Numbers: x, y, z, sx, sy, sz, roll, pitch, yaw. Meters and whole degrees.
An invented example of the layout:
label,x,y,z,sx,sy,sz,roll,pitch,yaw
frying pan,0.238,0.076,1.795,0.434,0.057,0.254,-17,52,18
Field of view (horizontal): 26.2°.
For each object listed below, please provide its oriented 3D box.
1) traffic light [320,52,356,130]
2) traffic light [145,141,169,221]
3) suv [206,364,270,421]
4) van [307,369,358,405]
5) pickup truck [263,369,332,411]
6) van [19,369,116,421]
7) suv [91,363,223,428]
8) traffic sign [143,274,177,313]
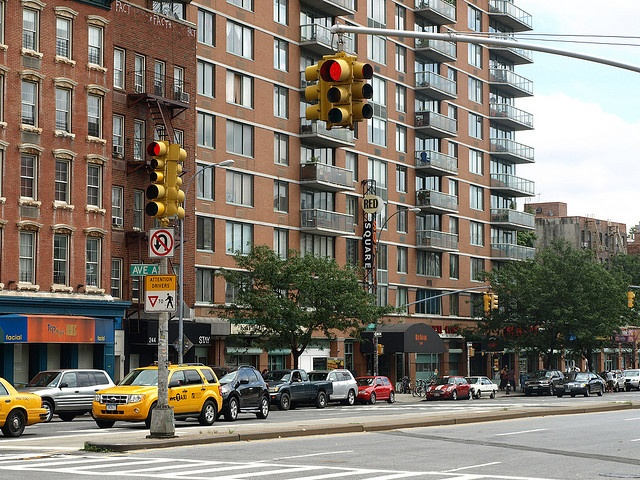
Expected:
label,x,y,z,sx,sy,sz,roll,pitch,yaw
traffic light,0.543,-4.711,43.257,0.854,2.504,0.611,0,-10,5
traffic light,-5.899,-2.334,49.835,0.803,2.935,1.039,0,-12,-7
suv,-3.696,6.570,60.853,2.044,2.493,2.079,-4,-9,12
van,0.030,7.748,73.600,2.255,1.845,4.255,-1,-6,36
pickup truck,-1.258,7.418,70.240,2.832,2.068,2.836,-4,-11,18
van,-11.910,6.781,62.067,3.273,2.458,3.213,-6,-10,45
suv,-6.545,6.240,56.531,5.084,2.736,2.347,8,-14,-37
traffic sign,-5.914,1.895,51.008,1.590,1.724,0.189,0,-3,16
